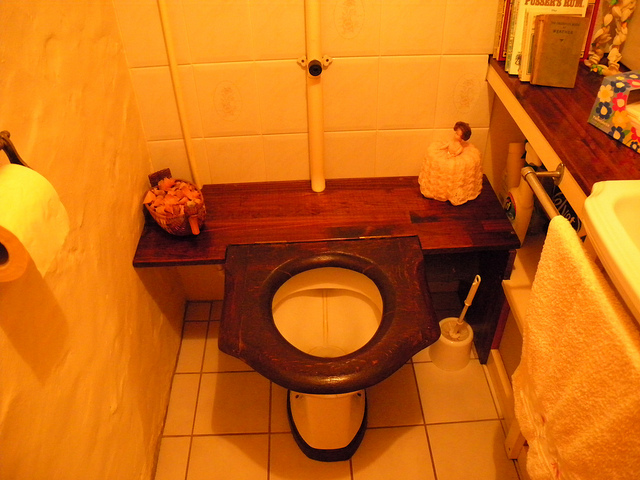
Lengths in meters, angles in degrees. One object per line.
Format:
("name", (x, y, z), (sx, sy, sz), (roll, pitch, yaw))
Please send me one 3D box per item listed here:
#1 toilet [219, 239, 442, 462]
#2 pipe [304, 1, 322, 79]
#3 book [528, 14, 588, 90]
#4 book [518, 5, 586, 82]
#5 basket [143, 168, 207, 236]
("toilet", (0.008, 0.343, 1.704), (0.801, 0.807, 0.711), (-3, 58, 0))
("pipe", (-0.020, -0.634, 1.447), (0.047, 0.168, 0.035), (-6, 40, -4))
("book", (0.660, -0.523, 1.330), (0.150, 0.204, 0.061), (2, 26, 5))
("book", (0.633, -0.562, 1.347), (0.187, 0.192, 0.046), (1, 10, -2))
("basket", (-0.469, -0.098, 1.618), (0.186, 0.227, 0.200), (1, 38, -11))
